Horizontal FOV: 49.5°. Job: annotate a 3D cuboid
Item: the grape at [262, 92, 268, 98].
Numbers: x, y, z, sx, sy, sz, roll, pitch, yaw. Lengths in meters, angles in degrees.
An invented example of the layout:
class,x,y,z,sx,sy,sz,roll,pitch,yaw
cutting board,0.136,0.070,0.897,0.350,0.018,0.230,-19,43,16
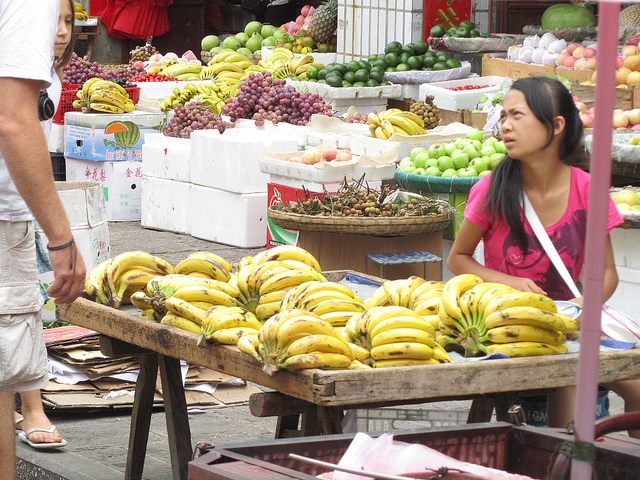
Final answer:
class,x,y,z,sx,sy,sz,roll,pitch,yaw
grape,-0.699,-1.821,8.731,0.077,0.051,0.090,14,3,-4

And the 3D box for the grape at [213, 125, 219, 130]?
class,x,y,z,sx,sy,sz,roll,pitch,yaw
grape,-1.255,-1.360,8.348,0.037,0.070,0.070,8,-31,4

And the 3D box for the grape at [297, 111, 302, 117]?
class,x,y,z,sx,sy,sz,roll,pitch,yaw
grape,-0.258,-1.544,8.487,0.047,0.057,0.047,2,2,-25

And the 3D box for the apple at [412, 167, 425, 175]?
class,x,y,z,sx,sy,sz,roll,pitch,yaw
apple,0.857,-0.592,6.009,0.075,0.095,0.077,-3,7,-37

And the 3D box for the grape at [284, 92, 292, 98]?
class,x,y,z,sx,sy,sz,roll,pitch,yaw
grape,-0.407,-1.789,8.562,0.073,0.062,0.063,8,-14,2

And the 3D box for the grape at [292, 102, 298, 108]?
class,x,y,z,sx,sy,sz,roll,pitch,yaw
grape,-0.311,-1.661,8.522,0.060,0.050,0.052,21,-31,10

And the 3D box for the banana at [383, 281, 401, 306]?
class,x,y,z,sx,sy,sz,roll,pitch,yaw
banana,0.295,0.226,2.873,0.047,0.091,0.029,-1,-33,-29

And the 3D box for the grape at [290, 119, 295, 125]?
class,x,y,z,sx,sy,sz,roll,pitch,yaw
grape,-0.340,-1.444,8.445,0.041,0.051,0.042,-1,-5,30

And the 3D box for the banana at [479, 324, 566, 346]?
class,x,y,z,sx,sy,sz,roll,pitch,yaw
banana,0.701,0.333,2.435,0.243,0.050,0.067,1,-18,-8

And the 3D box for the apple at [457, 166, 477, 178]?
class,x,y,z,sx,sy,sz,roll,pitch,yaw
apple,1.215,-0.571,5.769,0.114,0.112,0.118,-2,32,37

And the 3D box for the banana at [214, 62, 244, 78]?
class,x,y,z,sx,sy,sz,roll,pitch,yaw
banana,-1.479,-2.758,11.114,0.429,0.202,0.114,-3,1,-4

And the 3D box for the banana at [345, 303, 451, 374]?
class,x,y,z,sx,sy,sz,roll,pitch,yaw
banana,0.257,0.341,2.420,0.207,0.132,0.280,1,14,-17

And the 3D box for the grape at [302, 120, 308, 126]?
class,x,y,z,sx,sy,sz,roll,pitch,yaw
grape,-0.183,-1.418,8.377,0.058,0.061,0.071,-9,22,20

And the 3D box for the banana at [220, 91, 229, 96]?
class,x,y,z,sx,sy,sz,roll,pitch,yaw
banana,-1.378,-2.090,10.002,0.084,0.022,0.088,-3,20,-39

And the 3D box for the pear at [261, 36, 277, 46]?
class,x,y,z,sx,sy,sz,roll,pitch,yaw
pear,-0.932,-3.617,12.568,0.243,0.201,0.208,-19,23,2

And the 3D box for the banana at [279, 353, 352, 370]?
class,x,y,z,sx,sy,sz,roll,pitch,yaw
banana,-0.027,0.389,2.210,0.198,0.043,0.054,2,-7,-17

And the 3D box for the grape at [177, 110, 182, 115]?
class,x,y,z,sx,sy,sz,roll,pitch,yaw
grape,-1.794,-1.618,8.815,0.028,0.046,0.065,-9,14,-32

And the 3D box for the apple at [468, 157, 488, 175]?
class,x,y,z,sx,sy,sz,roll,pitch,yaw
apple,1.332,-0.618,5.897,0.134,0.136,0.141,-6,-8,2

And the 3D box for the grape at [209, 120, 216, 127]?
class,x,y,z,sx,sy,sz,roll,pitch,yaw
grape,-1.336,-1.444,8.565,0.069,0.067,0.092,-3,12,-8

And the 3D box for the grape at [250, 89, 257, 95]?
class,x,y,z,sx,sy,sz,roll,pitch,yaw
grape,-0.854,-1.885,8.822,0.062,0.064,0.060,7,13,36

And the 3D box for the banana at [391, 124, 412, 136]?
class,x,y,z,sx,sy,sz,roll,pitch,yaw
banana,0.819,-1.106,6.987,0.206,0.049,0.070,30,47,-1

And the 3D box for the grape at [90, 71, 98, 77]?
class,x,y,z,sx,sy,sz,roll,pitch,yaw
grape,-3.380,-2.468,10.324,0.100,0.082,0.043,6,14,29

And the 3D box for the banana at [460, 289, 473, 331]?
class,x,y,z,sx,sy,sz,roll,pitch,yaw
banana,0.519,0.255,2.530,0.039,0.152,0.032,-10,-18,1

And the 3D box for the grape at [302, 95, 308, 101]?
class,x,y,z,sx,sy,sz,roll,pitch,yaw
grape,-0.193,-1.742,8.479,0.057,0.050,0.049,-2,8,-17

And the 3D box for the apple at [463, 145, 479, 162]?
class,x,y,z,sx,sy,sz,roll,pitch,yaw
apple,1.302,-0.751,5.987,0.122,0.124,0.123,15,20,14

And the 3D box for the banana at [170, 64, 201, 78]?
class,x,y,z,sx,sy,sz,roll,pitch,yaw
banana,-2.317,-2.886,11.858,0.711,0.159,0.233,-13,36,-27

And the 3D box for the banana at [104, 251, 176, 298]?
class,x,y,z,sx,sy,sz,roll,pitch,yaw
banana,-0.824,0.151,3.227,0.265,0.207,0.068,44,-22,-26

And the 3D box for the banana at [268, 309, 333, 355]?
class,x,y,z,sx,sy,sz,roll,pitch,yaw
banana,-0.087,0.291,2.327,0.163,0.140,0.056,15,1,-8

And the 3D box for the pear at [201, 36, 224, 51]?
class,x,y,z,sx,sy,sz,roll,pitch,yaw
pear,-2.193,-3.933,13.907,0.343,0.307,0.296,2,38,11

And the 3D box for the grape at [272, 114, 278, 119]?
class,x,y,z,sx,sy,sz,roll,pitch,yaw
grape,-0.562,-1.514,8.519,0.054,0.052,0.048,-1,12,-1

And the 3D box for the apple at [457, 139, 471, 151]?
class,x,y,z,sx,sy,sz,roll,pitch,yaw
apple,1.256,-0.840,6.116,0.107,0.133,0.109,1,2,36

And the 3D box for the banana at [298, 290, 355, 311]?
class,x,y,z,sx,sy,sz,roll,pitch,yaw
banana,0.054,0.225,2.705,0.288,0.086,0.067,-1,13,-22

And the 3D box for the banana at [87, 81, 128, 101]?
class,x,y,z,sx,sy,sz,roll,pitch,yaw
banana,-2.857,-2.009,9.266,0.394,0.222,0.107,-1,-9,-42

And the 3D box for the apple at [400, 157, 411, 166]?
class,x,y,z,sx,sy,sz,roll,pitch,yaw
apple,0.785,-0.728,6.400,0.086,0.068,0.112,-3,2,-13

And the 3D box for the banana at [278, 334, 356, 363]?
class,x,y,z,sx,sy,sz,roll,pitch,yaw
banana,-0.008,0.359,2.263,0.283,0.089,0.054,4,-7,-25

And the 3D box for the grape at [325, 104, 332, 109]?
class,x,y,z,sx,sy,sz,roll,pitch,yaw
grape,0.096,-1.676,8.693,0.076,0.055,0.092,3,4,6

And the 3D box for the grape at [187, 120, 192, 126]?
class,x,y,z,sx,sy,sz,roll,pitch,yaw
grape,-1.639,-1.470,8.753,0.061,0.075,0.062,14,-3,26

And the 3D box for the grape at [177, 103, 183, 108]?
class,x,y,z,sx,sy,sz,roll,pitch,yaw
grape,-1.822,-1.741,8.978,0.078,0.057,0.099,0,5,7

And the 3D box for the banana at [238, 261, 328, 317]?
class,x,y,z,sx,sy,sz,roll,pitch,yaw
banana,-0.167,0.230,2.908,0.288,0.137,0.218,-5,33,13

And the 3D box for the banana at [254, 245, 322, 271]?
class,x,y,z,sx,sy,sz,roll,pitch,yaw
banana,-0.144,0.069,3.120,0.185,0.054,0.143,15,7,-40

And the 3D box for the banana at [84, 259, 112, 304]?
class,x,y,z,sx,sy,sz,roll,pitch,yaw
banana,-1.023,0.185,3.175,0.072,0.142,0.183,10,36,-1

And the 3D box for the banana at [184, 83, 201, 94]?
class,x,y,z,sx,sy,sz,roll,pitch,yaw
banana,-1.793,-2.081,9.615,0.156,0.062,0.155,45,5,-1

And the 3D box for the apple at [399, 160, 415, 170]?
class,x,y,z,sx,sy,sz,roll,pitch,yaw
apple,0.772,-0.673,6.182,0.093,0.083,0.084,12,11,23

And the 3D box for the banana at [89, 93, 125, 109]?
class,x,y,z,sx,sy,sz,roll,pitch,yaw
banana,-2.738,-1.846,9.194,0.597,0.169,0.119,6,-10,-31

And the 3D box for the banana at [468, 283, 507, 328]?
class,x,y,z,sx,sy,sz,roll,pitch,yaw
banana,0.603,0.230,2.552,0.043,0.160,0.117,32,-1,-43

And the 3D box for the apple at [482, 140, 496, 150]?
class,x,y,z,sx,sy,sz,roll,pitch,yaw
apple,1.493,-0.855,6.145,0.093,0.081,0.080,29,-12,-21

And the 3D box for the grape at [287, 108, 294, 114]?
class,x,y,z,sx,sy,sz,roll,pitch,yaw
grape,-0.373,-1.593,8.574,0.039,0.068,0.082,-12,16,-41

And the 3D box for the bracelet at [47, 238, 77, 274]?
class,x,y,z,sx,sy,sz,roll,pitch,yaw
bracelet,-0.981,0.067,2.656,0.105,0.138,0.055,-8,14,-30

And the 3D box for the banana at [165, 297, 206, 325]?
class,x,y,z,sx,sy,sz,roll,pitch,yaw
banana,-0.540,0.287,2.764,0.130,0.037,0.044,28,38,8

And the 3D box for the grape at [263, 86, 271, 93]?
class,x,y,z,sx,sy,sz,roll,pitch,yaw
grape,-0.684,-1.908,8.796,0.092,0.078,0.048,5,13,25

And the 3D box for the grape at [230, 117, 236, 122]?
class,x,y,z,sx,sy,sz,roll,pitch,yaw
grape,-1.107,-1.524,8.775,0.059,0.051,0.050,15,-17,12

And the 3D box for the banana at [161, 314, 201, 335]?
class,x,y,z,sx,sy,sz,roll,pitch,yaw
banana,-0.546,0.325,2.767,0.199,0.054,0.053,15,13,26

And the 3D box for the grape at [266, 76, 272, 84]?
class,x,y,z,sx,sy,sz,roll,pitch,yaw
grape,-0.659,-2.046,8.874,0.097,0.095,0.066,-11,15,-39
